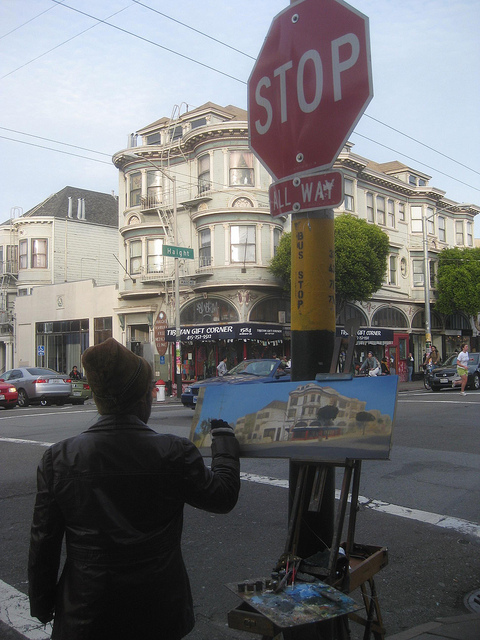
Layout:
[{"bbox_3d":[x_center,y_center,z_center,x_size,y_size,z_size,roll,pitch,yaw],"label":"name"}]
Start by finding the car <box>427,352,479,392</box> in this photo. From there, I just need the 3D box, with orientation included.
[{"bbox_3d":[7.871,1.887,24.422,1.021,0.892,2.431,-7,-8,38],"label":"car"}]

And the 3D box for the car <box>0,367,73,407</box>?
[{"bbox_3d":[-6.717,2.084,21.814,1.036,0.870,2.425,3,-2,-44],"label":"car"}]

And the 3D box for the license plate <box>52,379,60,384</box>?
[{"bbox_3d":[-5.779,1.928,21.266,0.108,0.128,0.290,6,-4,37],"label":"license plate"}]

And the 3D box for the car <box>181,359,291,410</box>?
[{"bbox_3d":[-0.056,1.330,14.196,1.270,1.003,2.765,-6,-10,41],"label":"car"}]

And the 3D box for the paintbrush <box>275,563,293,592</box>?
[{"bbox_3d":[0.188,1.010,2.687,0.138,0.018,0.031,-47,1,-24],"label":"paintbrush"}]

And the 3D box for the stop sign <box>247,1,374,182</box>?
[{"bbox_3d":[0.363,-1.203,3.541,0.184,0.688,0.851,10,-3,-33],"label":"stop sign"}]

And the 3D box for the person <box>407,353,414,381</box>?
[{"bbox_3d":[9.375,2.610,37.409,0.329,0.969,1.441,7,-3,13],"label":"person"}]
